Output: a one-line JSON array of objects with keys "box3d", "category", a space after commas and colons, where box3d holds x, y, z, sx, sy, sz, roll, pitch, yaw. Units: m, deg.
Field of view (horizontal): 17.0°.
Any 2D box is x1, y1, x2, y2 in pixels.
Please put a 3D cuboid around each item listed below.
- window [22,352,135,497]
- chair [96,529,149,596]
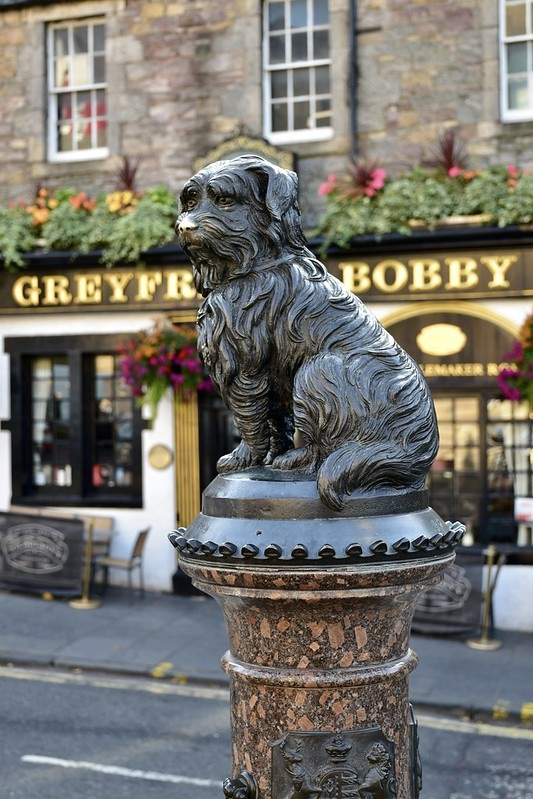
[{"box3d": [-1.801, 0.263, 17.544, 1.366, 1.717, 0.113, -1, 0, 10], "category": "window"}, {"box3d": [-1.292, 1.519, 16.672, 0.580, 0.839, 0.549, 4, -4, -1], "category": "chair"}]
